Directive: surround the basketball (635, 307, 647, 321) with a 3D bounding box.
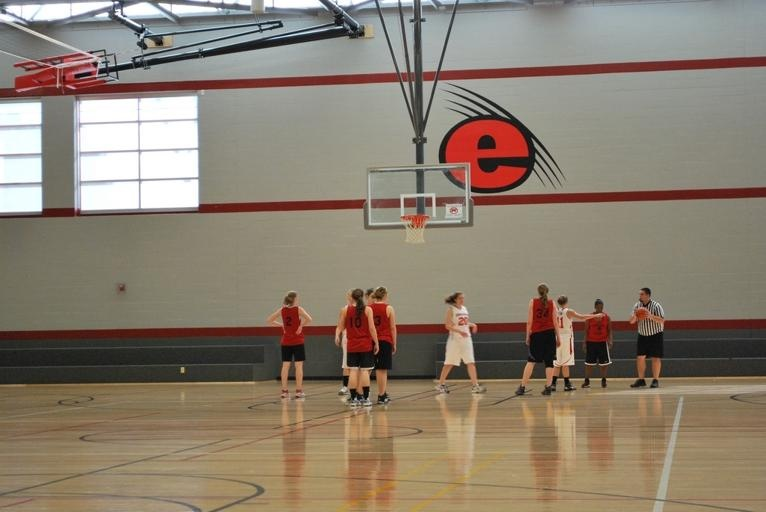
[{"bbox_3d":[5.656,1.284,20.810,0.268,0.281,0.268,0,-4,14],"label":"basketball"}]

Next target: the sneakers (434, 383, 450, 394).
[{"bbox_3d":[1.266,2.920,20.684,0.158,0.172,0.410,1,-7,-34],"label":"sneakers"}]

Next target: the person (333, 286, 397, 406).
[{"bbox_3d":[-0.390,1.822,19.004,1.070,2.364,1.110,1,-4,-3],"label":"person"}]

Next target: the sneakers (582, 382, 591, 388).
[{"bbox_3d":[4.540,2.938,21.269,0.187,0.108,0.090,6,-8,-25],"label":"sneakers"}]

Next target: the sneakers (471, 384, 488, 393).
[{"bbox_3d":[2.068,2.897,20.576,0.303,0.202,0.167,-6,-2,20],"label":"sneakers"}]

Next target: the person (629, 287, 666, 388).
[{"bbox_3d":[5.817,1.818,20.956,0.674,2.220,0.893,0,-4,13],"label":"person"}]
